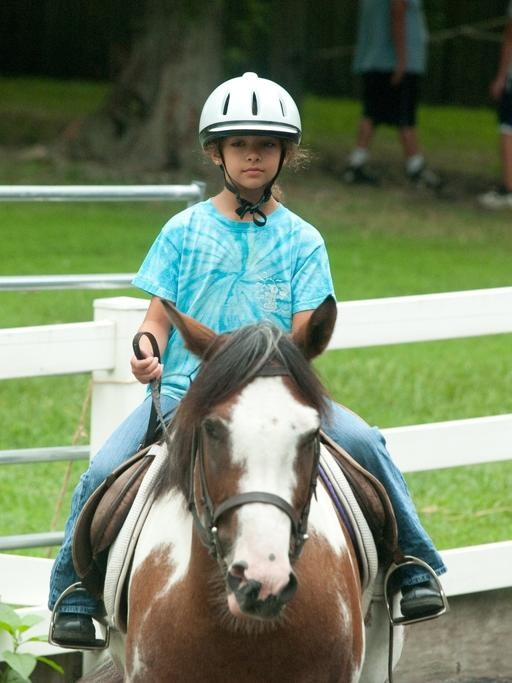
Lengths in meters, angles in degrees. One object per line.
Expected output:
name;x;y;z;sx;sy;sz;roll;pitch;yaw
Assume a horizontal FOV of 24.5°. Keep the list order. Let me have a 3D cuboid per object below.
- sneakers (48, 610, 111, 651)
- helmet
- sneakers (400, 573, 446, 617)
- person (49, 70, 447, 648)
sneakers;-0.518;0.868;3.512;0.082;0.101;0.237;9;-12;-39
helmet;-0.024;-0.688;3.548;0.313;0.220;0.291;3;15;5
sneakers;0.496;0.772;3.560;0.075;0.080;0.176;-9;-16;4
person;-0.035;0.036;3.589;1.287;1.613;0.894;-2;15;-12
